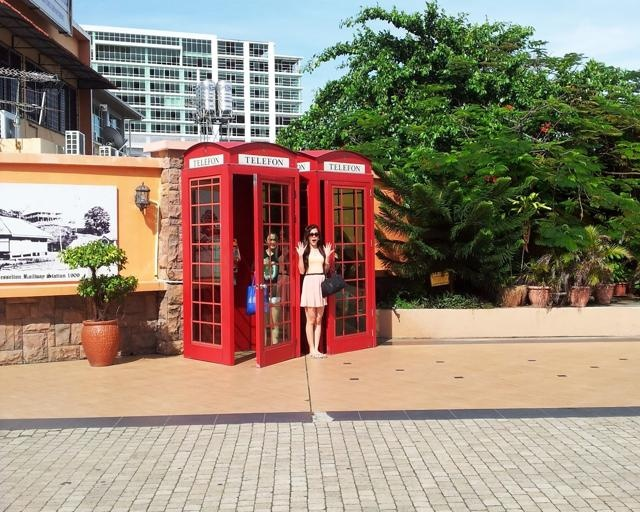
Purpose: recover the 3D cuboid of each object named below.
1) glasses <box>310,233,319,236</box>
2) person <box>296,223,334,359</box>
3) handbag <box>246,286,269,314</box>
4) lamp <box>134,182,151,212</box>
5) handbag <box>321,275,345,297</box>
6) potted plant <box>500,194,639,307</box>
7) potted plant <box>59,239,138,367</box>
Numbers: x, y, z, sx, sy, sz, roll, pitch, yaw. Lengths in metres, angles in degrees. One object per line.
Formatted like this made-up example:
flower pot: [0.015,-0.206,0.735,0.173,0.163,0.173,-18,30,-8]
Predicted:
glasses: [-0.085,-0.366,9.330,0.131,0.051,0.059,-2,3,-24]
person: [-0.081,0.549,9.478,0.438,2.133,0.492,1,3,20]
handbag: [-0.920,0.644,8.798,0.450,0.465,0.199,1,5,23]
lamp: [-2.874,-0.971,9.520,0.238,0.467,0.207,-1,3,-17]
handbag: [0.184,0.450,9.345,0.302,0.279,0.117,-22,4,-14]
potted plant: [5.241,-0.197,12.024,3.745,2.182,1.660,-3,4,-43]
potted plant: [-3.315,0.691,8.954,1.002,1.912,0.912,-1,3,-16]
